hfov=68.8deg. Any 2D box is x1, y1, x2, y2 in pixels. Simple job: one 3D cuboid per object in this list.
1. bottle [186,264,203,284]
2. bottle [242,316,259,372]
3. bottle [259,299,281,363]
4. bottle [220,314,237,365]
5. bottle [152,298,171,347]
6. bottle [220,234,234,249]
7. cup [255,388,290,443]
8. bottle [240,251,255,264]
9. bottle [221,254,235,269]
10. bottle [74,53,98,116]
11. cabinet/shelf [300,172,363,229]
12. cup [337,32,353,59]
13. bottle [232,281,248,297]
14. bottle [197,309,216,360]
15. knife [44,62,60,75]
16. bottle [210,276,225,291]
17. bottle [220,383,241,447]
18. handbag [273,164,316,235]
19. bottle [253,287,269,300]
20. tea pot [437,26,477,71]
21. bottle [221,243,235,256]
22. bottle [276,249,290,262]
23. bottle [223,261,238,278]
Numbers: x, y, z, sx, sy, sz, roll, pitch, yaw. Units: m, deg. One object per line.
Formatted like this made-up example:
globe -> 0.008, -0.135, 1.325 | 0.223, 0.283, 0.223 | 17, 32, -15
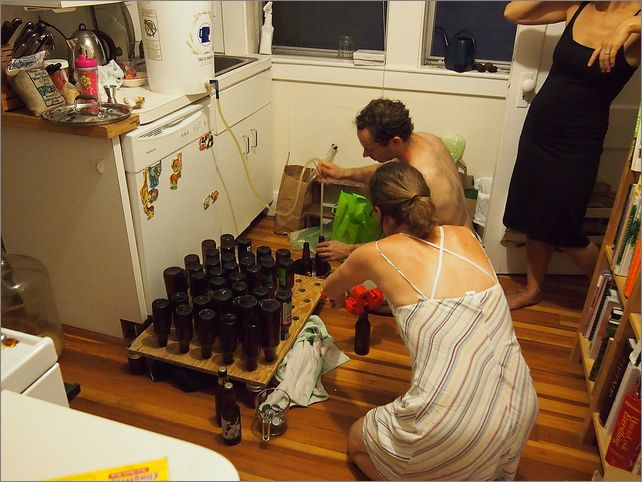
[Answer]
bottle -> -0.639, 0.158, 2.364 | 0.072, 0.091, 0.078 | 4, 26, -2
bottle -> -0.323, 0.465, 2.155 | 0.080, 0.256, 0.123 | -4, 26, -12
bottle -> -0.232, 0.421, 2.193 | 0.114, 0.303, 0.100 | -9, 27, -21
bottle -> -0.435, 0.452, 2.192 | 0.087, 0.234, 0.134 | -5, 26, -14
bottle -> -0.771, 0.399, 2.265 | 0.088, 0.229, 0.106 | -9, 27, -21
bottle -> -0.531, 0.015, 2.620 | 0.066, 0.071, 0.072 | 1, 23, 4
cup -> -0.199, 0.756, 2.092 | 0.126, 0.158, 0.217 | 5, 43, 5
bottle -> -0.398, 0.091, 2.523 | 0.056, 0.058, 0.061 | -2, 35, -11
bottle -> -0.489, 0.109, 2.454 | 0.067, 0.068, 0.074 | 2, 40, 2
bottle -> -1.084, -0.732, 2.167 | 0.104, 0.218, 0.322 | -11, 29, -25
cabinet/shelf -> 0.109, -0.288, 3.492 | 0.541, 0.554, 0.308 | 3, 39, 5
cup -> 0.189, -1.418, 3.394 | 0.130, 0.152, 0.141 | 0, 29, 0
bottle -> -0.402, 0.237, 2.288 | 0.063, 0.067, 0.068 | 12, 34, 14
bottle -> -0.537, 0.435, 2.195 | 0.081, 0.256, 0.098 | -5, 26, -13
knife -> -1.297, -0.826, 2.253 | 0.041, 0.028, 0.076 | 4, 30, 13
bottle -> -0.512, 0.210, 2.304 | 0.061, 0.063, 0.066 | -9, 39, -14
bottle -> -0.391, 0.748, 1.982 | 0.090, 0.335, 0.099 | 0, 34, 0
handbag -> -0.203, -0.271, 3.367 | 0.299, 0.474, 0.200 | 1, 25, -2
bottle -> -0.296, 0.247, 2.292 | 0.054, 0.054, 0.060 | 1, 38, -7
tea pot -> 0.953, -1.324, 3.229 | 0.218, 0.251, 0.460 | 6, 27, 8
bottle -> -0.514, 0.044, 2.555 | 0.062, 0.070, 0.060 | 4, 62, -8
bottle -> -0.227, 0.078, 2.669 | 0.065, 0.068, 0.070 | 0, 23, -3
bottle -> -0.470, 0.136, 2.416 | 0.069, 0.071, 0.071 | -15, 28, -33
